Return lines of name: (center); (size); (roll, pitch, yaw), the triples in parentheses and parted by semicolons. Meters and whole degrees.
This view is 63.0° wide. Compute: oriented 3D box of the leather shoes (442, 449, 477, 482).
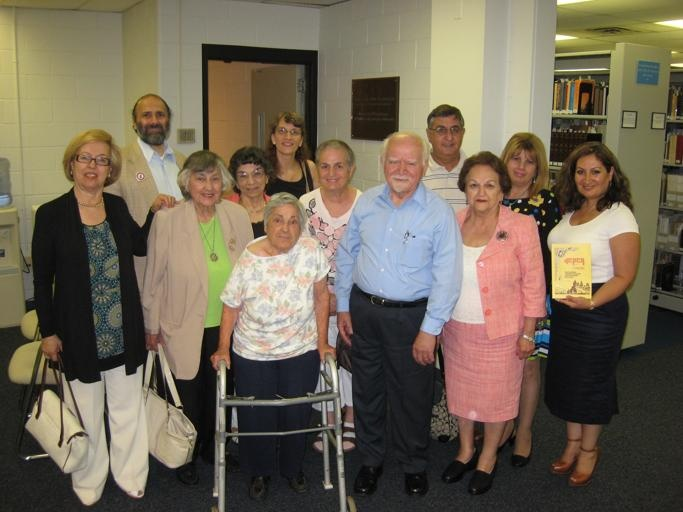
leather shoes: (0.786, 1.405, 3.769); (0.307, 0.130, 0.101); (-15, 16, -43)

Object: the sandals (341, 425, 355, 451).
sandals: (0.045, 1.302, 3.977); (0.090, 0.124, 0.278); (0, -5, -5)

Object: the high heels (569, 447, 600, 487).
high heels: (1.591, 1.377, 3.685); (0.115, 0.146, 0.344); (-27, 15, 48)

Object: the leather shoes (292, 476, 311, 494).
leather shoes: (-0.274, 1.462, 3.560); (0.062, 0.070, 0.144); (-2, 12, -17)

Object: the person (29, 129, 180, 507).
person: (-1.479, 0.400, 3.368); (0.636, 2.233, 0.447); (-6, 15, -22)

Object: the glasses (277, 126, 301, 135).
glasses: (-0.418, -0.971, 4.376); (0.186, 0.061, 0.063); (1, 15, 1)

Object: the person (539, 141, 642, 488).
person: (1.570, 0.395, 3.611); (0.537, 2.167, 0.478); (7, 15, 24)

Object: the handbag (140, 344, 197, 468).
handbag: (-1.119, 0.908, 3.452); (0.572, 0.707, 0.164); (27, 32, 30)

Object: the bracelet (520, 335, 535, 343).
bracelet: (1.156, 0.510, 3.443); (0.054, 0.022, 0.051); (18, 12, 35)

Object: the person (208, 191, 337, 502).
person: (-0.411, 0.585, 3.293); (0.694, 1.860, 0.380); (-2, 14, -8)

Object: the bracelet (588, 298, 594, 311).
bracelet: (1.538, 0.304, 3.436); (0.045, 0.067, 0.023); (-7, -19, 23)

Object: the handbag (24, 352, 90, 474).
handbag: (-1.722, 0.904, 3.364); (0.588, 0.666, 0.143); (26, 24, 33)

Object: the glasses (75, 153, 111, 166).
glasses: (-1.458, -0.555, 3.261); (0.190, 0.076, 0.062); (-7, 16, -25)

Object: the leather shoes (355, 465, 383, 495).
leather shoes: (0.161, 1.439, 3.565); (0.093, 0.106, 0.234); (4, 3, 17)

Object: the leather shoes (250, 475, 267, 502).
leather shoes: (-0.527, 1.451, 3.478); (0.075, 0.078, 0.171); (1, 4, -2)

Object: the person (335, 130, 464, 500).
person: (0.312, 0.388, 3.453); (0.800, 2.220, 0.479); (5, 15, 16)
